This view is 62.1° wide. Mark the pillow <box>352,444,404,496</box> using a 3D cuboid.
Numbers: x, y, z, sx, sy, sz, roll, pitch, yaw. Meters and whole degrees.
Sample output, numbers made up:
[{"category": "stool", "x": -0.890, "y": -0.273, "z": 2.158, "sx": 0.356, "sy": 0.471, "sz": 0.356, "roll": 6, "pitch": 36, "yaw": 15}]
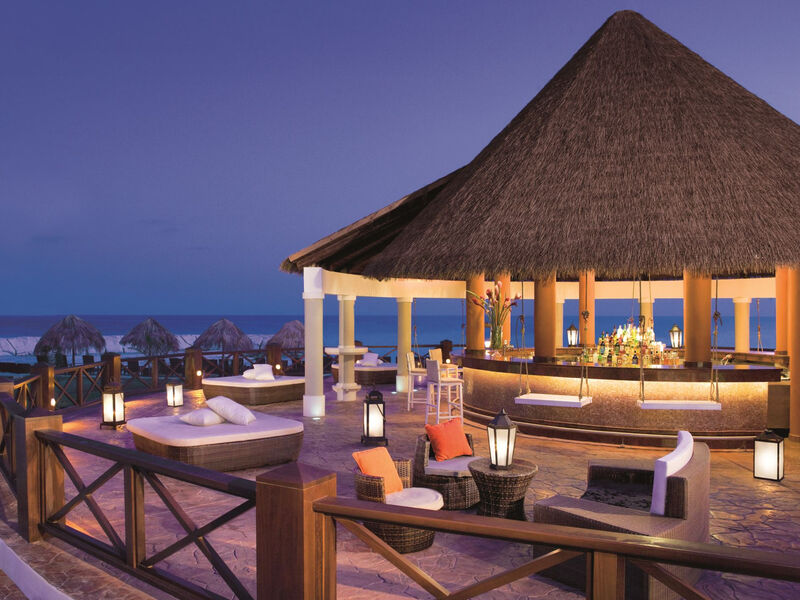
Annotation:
[{"category": "pillow", "x": -0.237, "y": 1.930, "z": 7.700, "sx": 0.437, "sy": 0.587, "sz": 0.736, "roll": 0, "pitch": -1, "yaw": 25}]

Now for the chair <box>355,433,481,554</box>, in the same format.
[{"category": "chair", "x": 0.140, "y": 2.284, "z": 7.922, "sx": 0.886, "sy": 1.100, "sz": 1.485, "roll": -2, "pitch": -2, "yaw": 28}]

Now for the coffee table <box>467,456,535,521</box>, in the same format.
[{"category": "coffee table", "x": 1.187, "y": 2.229, "z": 8.098, "sx": 0.675, "sy": 0.630, "sz": 0.673, "roll": 0, "pitch": 2, "yaw": -1}]

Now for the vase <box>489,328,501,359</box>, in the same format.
[{"category": "vase", "x": 1.998, "y": 0.908, "z": 14.002, "sx": 0.214, "sy": 0.551, "sz": 0.507, "roll": -1, "pitch": -2, "yaw": 8}]

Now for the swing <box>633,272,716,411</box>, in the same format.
[{"category": "swing", "x": 4.859, "y": 0.469, "z": 11.277, "sx": 1.276, "sy": 3.134, "sz": 1.146, "roll": 3, "pitch": 1, "yaw": 22}]
